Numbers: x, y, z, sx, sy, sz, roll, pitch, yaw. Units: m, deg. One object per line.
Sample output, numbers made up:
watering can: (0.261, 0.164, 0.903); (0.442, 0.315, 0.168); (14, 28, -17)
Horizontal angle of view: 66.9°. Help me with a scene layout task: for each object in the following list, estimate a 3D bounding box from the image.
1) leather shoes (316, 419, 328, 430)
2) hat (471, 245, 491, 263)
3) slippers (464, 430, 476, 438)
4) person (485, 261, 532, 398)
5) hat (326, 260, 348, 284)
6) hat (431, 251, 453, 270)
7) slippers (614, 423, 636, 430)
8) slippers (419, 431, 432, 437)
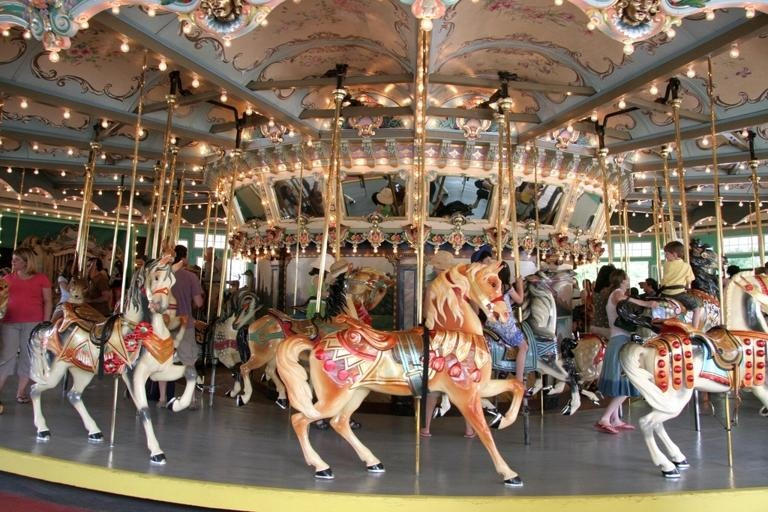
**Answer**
leather shoes: (-0.781, 2.138, 7.447); (0.173, 0.103, 0.235); (1, -3, -14)
hat: (1.456, -0.029, 8.610); (0.243, 0.192, 0.363); (-13, -2, -10)
slippers: (1.056, 2.173, 7.091); (0.141, 0.060, 0.183); (0, -3, 5)
person: (1.468, 0.821, 6.901); (0.467, 1.483, 1.712); (0, -4, 13)
hat: (-0.619, 0.221, 7.580); (0.310, 0.307, 0.222); (-2, -4, 36)
hat: (0.662, 0.061, 6.409); (0.216, 0.118, 0.213); (-1, -1, 31)
slippers: (3.115, 2.198, 7.475); (0.233, 0.057, 0.098); (2, -5, -35)
slippers: (0.519, 2.156, 7.063); (0.129, 0.050, 0.176); (0, -3, 0)
